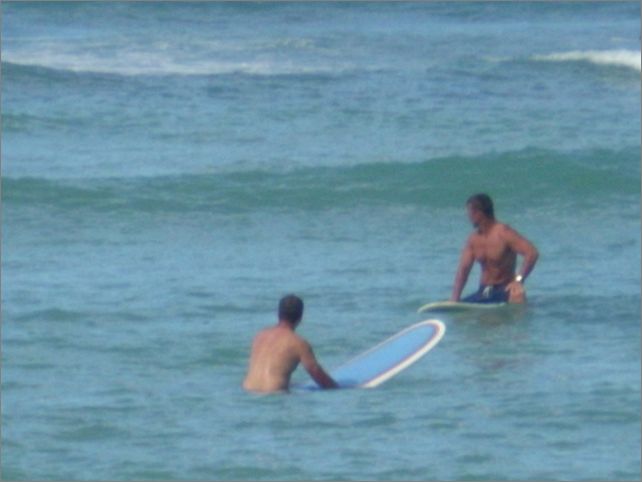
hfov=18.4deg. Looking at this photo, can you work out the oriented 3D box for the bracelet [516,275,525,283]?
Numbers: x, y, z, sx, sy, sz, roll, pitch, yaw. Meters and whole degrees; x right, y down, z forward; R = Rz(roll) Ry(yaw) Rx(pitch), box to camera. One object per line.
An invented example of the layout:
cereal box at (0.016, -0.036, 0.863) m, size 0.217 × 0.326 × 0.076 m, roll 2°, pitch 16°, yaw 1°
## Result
bracelet at (5.288, 0.998, 52.236) m, size 0.195 × 0.146 × 0.040 m, roll 15°, pitch 8°, yaw 11°
